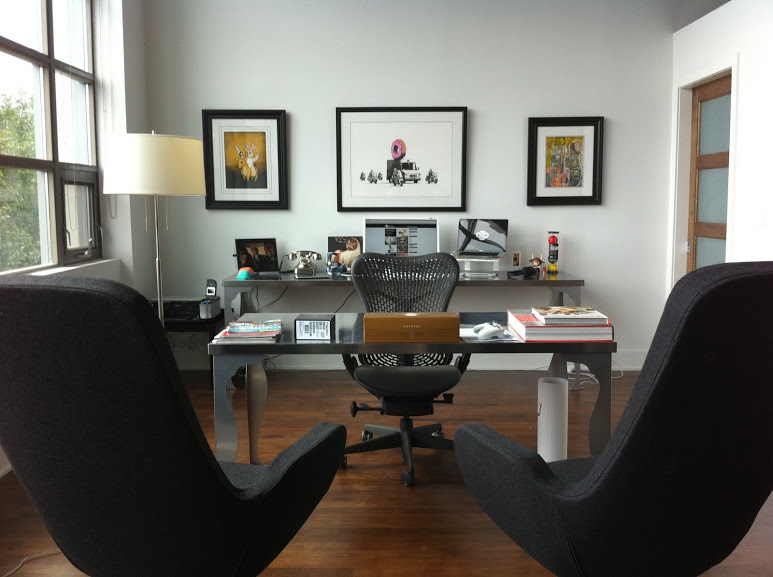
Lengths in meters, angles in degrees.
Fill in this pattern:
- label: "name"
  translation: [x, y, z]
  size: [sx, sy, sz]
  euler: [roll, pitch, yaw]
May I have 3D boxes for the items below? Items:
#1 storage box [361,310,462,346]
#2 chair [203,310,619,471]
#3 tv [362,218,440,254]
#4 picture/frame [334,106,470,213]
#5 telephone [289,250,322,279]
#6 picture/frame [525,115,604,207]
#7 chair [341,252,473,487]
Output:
- label: "storage box"
  translation: [0.101, 0.169, 2.621]
  size: [0.390, 0.115, 0.057]
  euler: [-1, 10, -2]
- label: "chair"
  translation: [0.113, 0.632, 3.088]
  size: [1.703, 0.883, 0.948]
  euler: [0, 3, -4]
- label: "tv"
  translation: [0.103, -0.395, 4.784]
  size: [0.556, 0.263, 0.122]
  euler: [0, 10, 0]
- label: "picture/frame"
  translation: [0.113, -1.026, 4.815]
  size: [0.728, 0.585, 0.029]
  euler: [0, 4, -1]
- label: "telephone"
  translation: [-0.601, -0.183, 4.703]
  size: [0.197, 0.184, 0.244]
  euler: [-1, -1, -3]
- label: "picture/frame"
  translation: [1.338, -0.999, 4.795]
  size: [0.620, 0.769, 0.034]
  euler: [0, 6, -3]
- label: "chair"
  translation: [0.093, 0.335, 3.201]
  size: [0.613, 1.080, 0.728]
  euler: [0, 1, 15]
